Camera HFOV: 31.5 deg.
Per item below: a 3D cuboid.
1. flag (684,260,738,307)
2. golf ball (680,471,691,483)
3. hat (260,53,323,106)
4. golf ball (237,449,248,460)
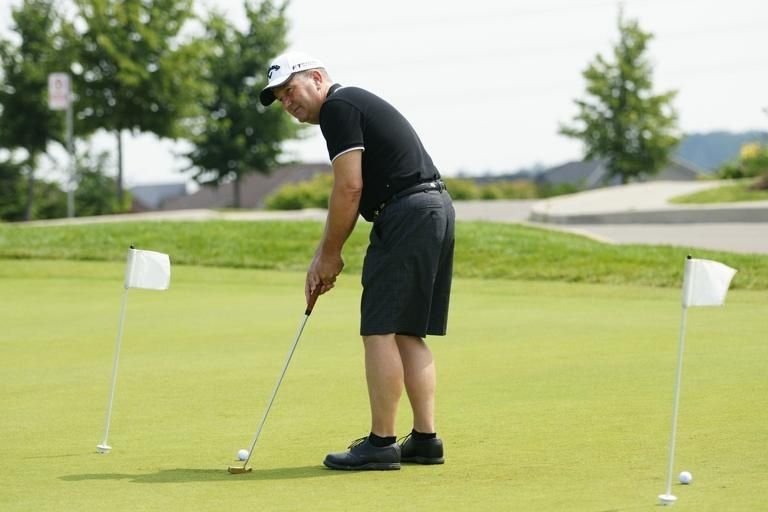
[{"bbox_3d":[2.689,0.261,11.096,0.457,0.470,0.055,1,11,-13],"label":"flag"},{"bbox_3d":[2.512,1.825,11.203,0.085,0.081,0.085,0,14,0],"label":"golf ball"},{"bbox_3d":[-0.839,-1.548,11.597,0.561,0.294,0.352,-29,5,-22],"label":"hat"},{"bbox_3d":[-1.179,1.676,11.438,0.081,0.084,0.103,-2,-43,-1],"label":"golf ball"}]
